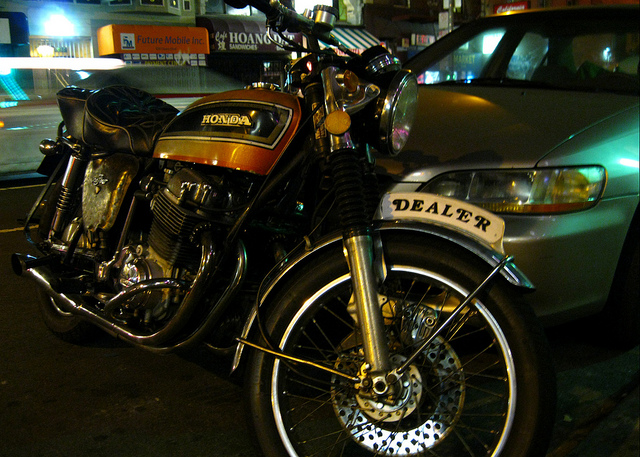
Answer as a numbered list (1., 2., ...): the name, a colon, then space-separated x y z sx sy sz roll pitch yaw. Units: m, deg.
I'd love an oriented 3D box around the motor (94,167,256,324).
1. motor: -0.731 0.171 2.950 0.667 1.113 0.454 24 4 40
